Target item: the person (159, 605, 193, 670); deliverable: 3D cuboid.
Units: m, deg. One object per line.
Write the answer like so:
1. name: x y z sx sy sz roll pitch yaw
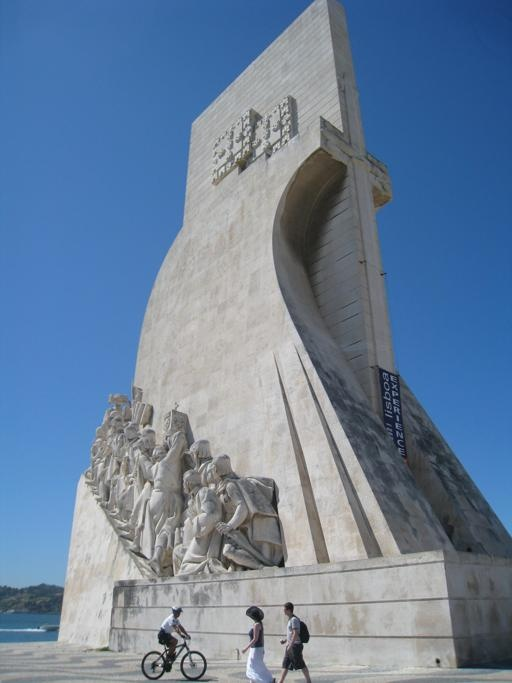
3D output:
1. person: -0.675 2.436 4.303 0.241 0.477 0.814 1 -36 -7
